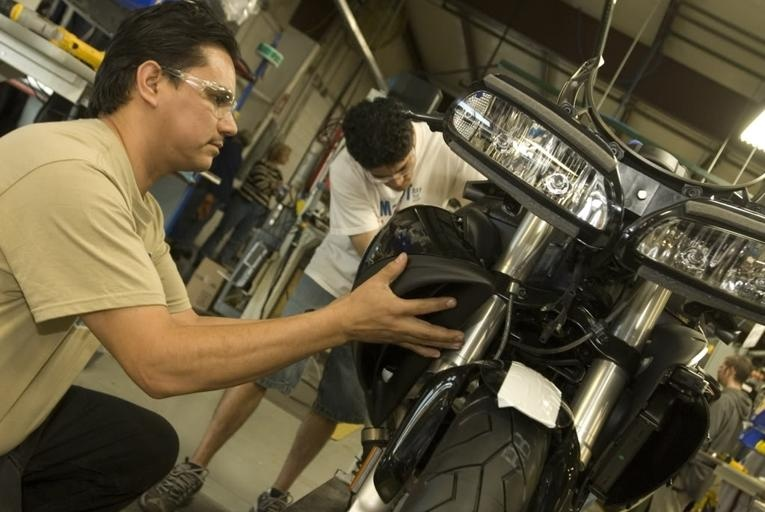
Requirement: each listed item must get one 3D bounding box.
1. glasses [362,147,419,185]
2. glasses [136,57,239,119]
[{"bbox_3d":[0.072,-0.395,2.600,0.127,0.162,0.211,58,5,4],"label":"glasses"},{"bbox_3d":[-0.601,-0.534,1.805,0.180,0.056,0.133,34,-7,-14],"label":"glasses"}]
